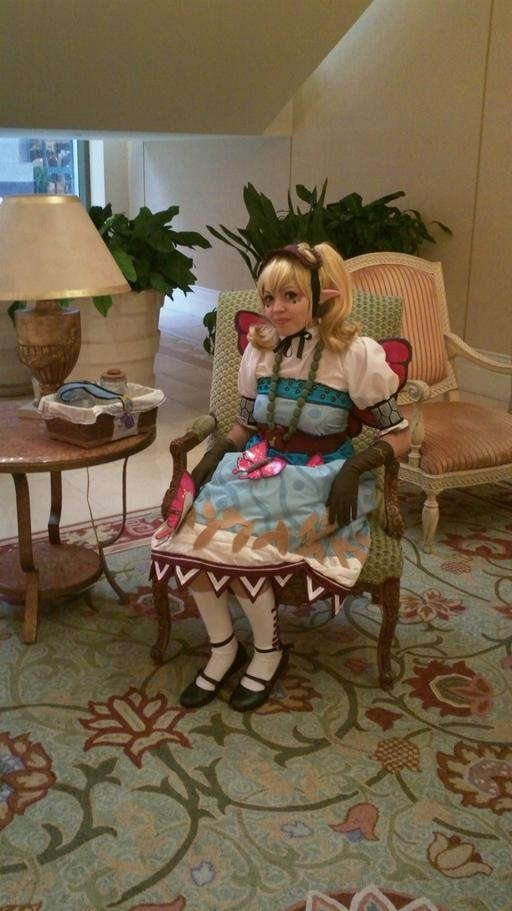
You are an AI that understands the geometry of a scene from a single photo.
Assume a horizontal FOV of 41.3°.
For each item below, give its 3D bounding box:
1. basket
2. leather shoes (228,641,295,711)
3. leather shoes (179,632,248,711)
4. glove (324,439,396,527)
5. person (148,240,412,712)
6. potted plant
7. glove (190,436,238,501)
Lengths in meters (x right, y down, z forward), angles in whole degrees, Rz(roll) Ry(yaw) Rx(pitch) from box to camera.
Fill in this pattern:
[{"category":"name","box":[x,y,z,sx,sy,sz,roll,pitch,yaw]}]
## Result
[{"category":"basket","box":[-0.408,-0.109,1.840,0.216,0.123,0.256,20,28,36]},{"category":"leather shoes","box":[0.009,0.556,1.657,0.073,0.054,0.203,13,50,25]},{"category":"leather shoes","box":[-0.115,0.548,1.707,0.080,0.094,0.238,17,51,42]},{"category":"glove","box":[0.255,0.045,1.522,0.120,0.074,0.278,-34,8,28]},{"category":"person","box":[0.049,0.054,1.594,0.443,1.076,0.472,10,16,35]},{"category":"potted plant","box":[-0.675,-0.891,3.805,1.173,1.351,1.033,0,8,-7]},{"category":"glove","box":[-0.110,0.023,1.665,0.053,0.067,0.222,-3,33,29]}]
